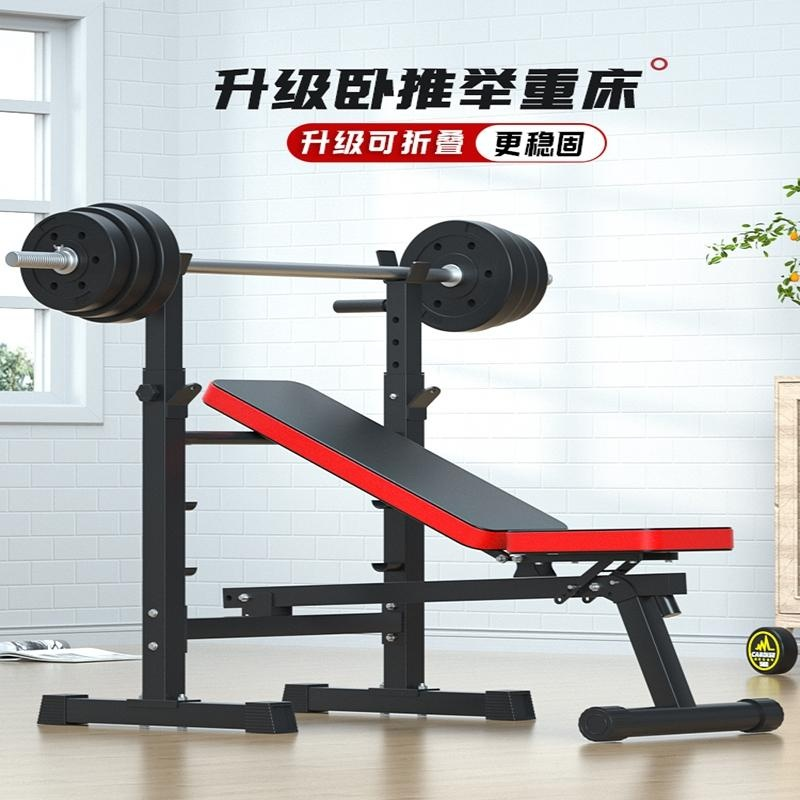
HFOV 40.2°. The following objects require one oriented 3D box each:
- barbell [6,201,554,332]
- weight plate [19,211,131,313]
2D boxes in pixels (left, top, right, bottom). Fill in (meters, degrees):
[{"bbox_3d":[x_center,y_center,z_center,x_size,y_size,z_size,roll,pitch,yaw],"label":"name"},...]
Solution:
[{"bbox_3d":[-0.553,-0.363,3.028,0.360,0.237,1.264,-12,1,24],"label":"barbell"},{"bbox_3d":[-0.755,-0.326,2.552,0.252,0.229,0.102,-2,-10,13],"label":"weight plate"}]
